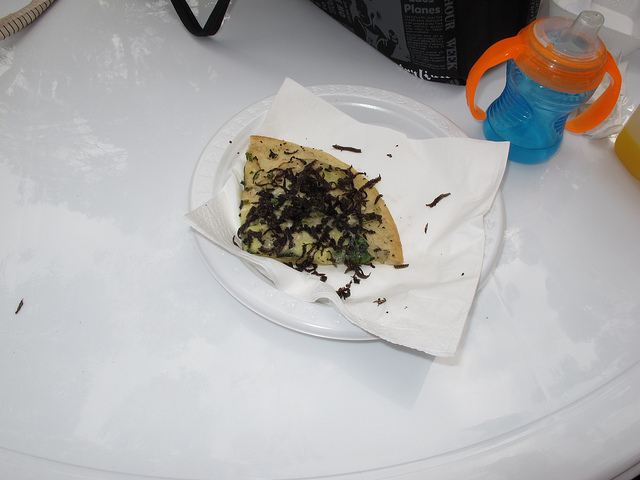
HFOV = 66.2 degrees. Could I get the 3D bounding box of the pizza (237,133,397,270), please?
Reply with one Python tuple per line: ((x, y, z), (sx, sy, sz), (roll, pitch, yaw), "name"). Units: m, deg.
((-0.008, -0.081, 1.228), (0.406, 0.094, 0.327), (9, 63, 0), "pizza")
